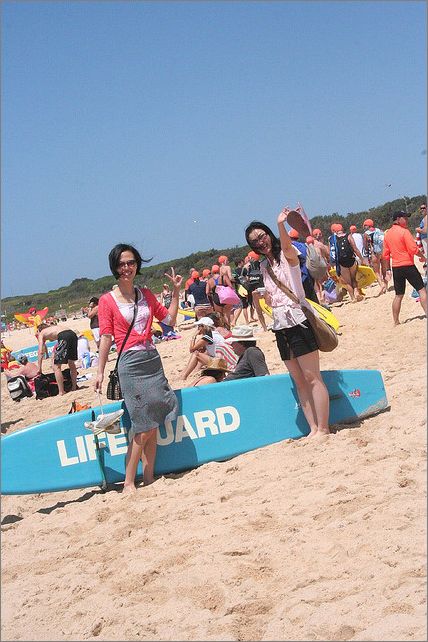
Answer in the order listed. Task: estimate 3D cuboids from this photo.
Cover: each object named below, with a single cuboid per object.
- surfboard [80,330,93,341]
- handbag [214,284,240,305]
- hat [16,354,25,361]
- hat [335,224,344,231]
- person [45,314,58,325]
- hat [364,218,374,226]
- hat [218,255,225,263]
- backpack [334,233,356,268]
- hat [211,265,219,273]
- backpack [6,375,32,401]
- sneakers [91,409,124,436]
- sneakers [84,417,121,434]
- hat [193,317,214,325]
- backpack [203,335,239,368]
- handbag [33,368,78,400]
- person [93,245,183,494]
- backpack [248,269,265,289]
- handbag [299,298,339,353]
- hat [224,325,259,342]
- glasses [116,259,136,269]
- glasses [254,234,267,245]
[{"bbox_3d":[-4.169,0.485,16.965,0.124,0.470,0.502,-4,3,-39],"label":"surfboard"},{"bbox_3d":[0.263,-0.542,10.574,0.463,0.480,0.219,2,-49,-33],"label":"handbag"},{"bbox_3d":[-3.647,0.687,9.722,0.127,0.116,0.101,-32,35,-20],"label":"hat"},{"bbox_3d":[2.305,-1.735,9.511,0.137,0.165,0.272,-10,-2,13],"label":"hat"},{"bbox_3d":[-14.662,-0.188,46.691,0.586,0.740,1.303,-6,-44,-4],"label":"person"},{"bbox_3d":[3.494,-2.229,11.581,0.176,0.156,0.258,-5,15,15],"label":"hat"},{"bbox_3d":[0.194,-1.566,12.700,0.168,0.197,0.154,-7,-44,26],"label":"hat"},{"bbox_3d":[2.393,-1.314,9.462,0.324,0.652,0.532,-10,-2,15],"label":"backpack"},{"bbox_3d":[0.034,-1.403,13.717,0.171,0.127,0.242,16,29,3],"label":"hat"},{"bbox_3d":[-3.392,1.186,9.061,0.358,0.488,0.478,-10,-6,1],"label":"backpack"},{"bbox_3d":[-0.642,0.672,3.317,0.307,0.103,0.132,-22,29,34],"label":"sneakers"},{"bbox_3d":[-0.688,0.689,3.357,0.290,0.123,0.096,3,-11,-6],"label":"sneakers"},{"bbox_3d":[-0.112,0.002,6.046,0.157,0.078,0.109,1,-2,-1],"label":"hat"},{"bbox_3d":[0.122,0.325,5.190,0.209,0.298,0.094,-22,-13,-36],"label":"backpack"},{"bbox_3d":[-2.690,1.057,8.592,0.462,0.248,0.601,-7,5,15],"label":"handbag"},{"bbox_3d":[-0.473,0.288,3.387,0.654,1.497,0.342,-9,-2,-23],"label":"person"},{"bbox_3d":[0.715,-0.715,8.755,0.299,0.482,0.242,-3,-5,3],"label":"backpack"},{"bbox_3d":[0.710,0.027,3.397,0.144,0.354,0.294,-11,-2,28],"label":"handbag"},{"bbox_3d":[0.262,0.125,5.193,0.219,0.100,0.249,-1,-10,2],"label":"hat"},{"bbox_3d":[-0.549,-0.367,3.268,0.118,0.053,0.041,-8,-2,-38],"label":"glasses"},{"bbox_3d":[0.296,-0.526,3.253,0.070,0.080,0.034,-10,-2,4],"label":"glasses"}]
